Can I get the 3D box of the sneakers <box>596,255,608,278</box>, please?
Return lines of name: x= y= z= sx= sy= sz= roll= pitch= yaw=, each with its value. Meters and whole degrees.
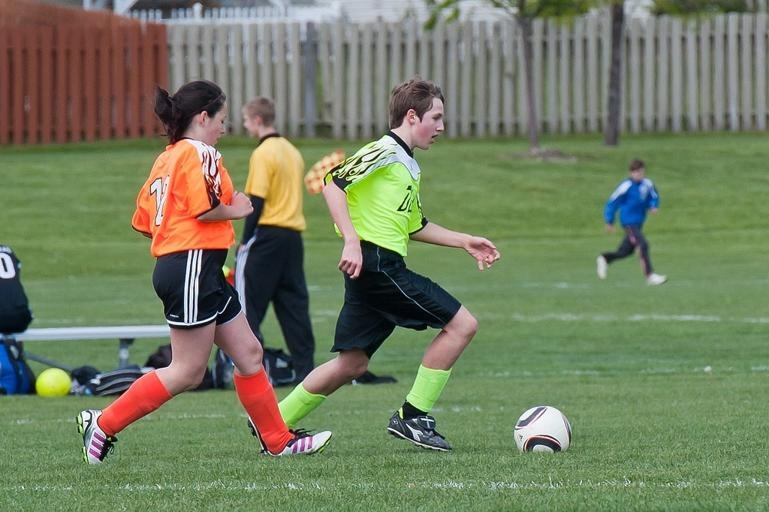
sneakers: x=1.296 y=0.068 z=9.641 sx=0.052 sy=0.141 sz=0.060 roll=-3 pitch=12 yaw=8

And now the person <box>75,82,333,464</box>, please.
person: x=-1.230 y=0.106 z=10.456 sx=1.476 sy=2.446 sz=0.438 roll=-1 pitch=6 yaw=-3

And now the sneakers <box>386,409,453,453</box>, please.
sneakers: x=0.214 y=1.155 z=10.752 sx=0.504 sy=0.228 sz=0.184 roll=25 pitch=-3 yaw=7

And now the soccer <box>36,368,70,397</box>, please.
soccer: x=-2.595 y=0.987 z=12.602 sx=0.279 sy=0.180 sz=0.318 roll=-3 pitch=6 yaw=-16

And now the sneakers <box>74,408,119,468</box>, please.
sneakers: x=-1.872 y=1.160 z=10.494 sx=0.241 sy=0.469 sz=0.156 roll=-3 pitch=8 yaw=5
